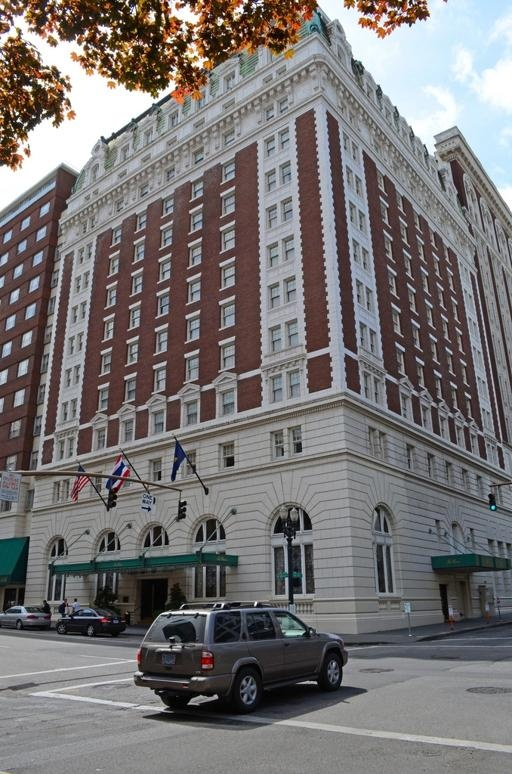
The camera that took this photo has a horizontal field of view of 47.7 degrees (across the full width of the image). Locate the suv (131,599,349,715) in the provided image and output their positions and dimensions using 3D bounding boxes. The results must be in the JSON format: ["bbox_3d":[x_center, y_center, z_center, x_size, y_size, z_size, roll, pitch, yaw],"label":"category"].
[{"bbox_3d":[-0.124,4.592,10.025,1.753,1.494,4.105,-14,-24,34],"label":"suv"}]

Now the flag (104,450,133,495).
[{"bbox_3d":[-8.657,5.410,36.644,2.573,0.582,6.159,-31,-10,-14],"label":"flag"}]

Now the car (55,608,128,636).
[{"bbox_3d":[-8.869,12.624,31.005,4.292,1.368,1.026,-15,-24,34],"label":"car"}]
